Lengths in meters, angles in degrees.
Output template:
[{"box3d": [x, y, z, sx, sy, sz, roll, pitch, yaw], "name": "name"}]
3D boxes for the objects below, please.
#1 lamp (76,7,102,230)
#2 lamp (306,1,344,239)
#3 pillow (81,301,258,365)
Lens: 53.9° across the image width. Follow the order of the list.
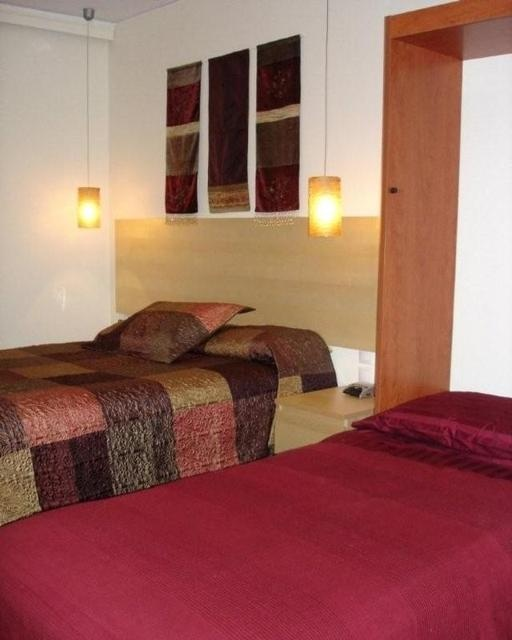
[{"box3d": [-1.489, -1.718, 4.415, 0.179, 1.818, 0.684, -1, -1, -19], "name": "lamp"}, {"box3d": [0.404, -1.200, 2.994, 0.184, 1.114, 0.303, -2, -1, 19], "name": "lamp"}, {"box3d": [-0.565, 0.045, 3.101, 0.543, 0.118, 0.613, 10, 32, 42], "name": "pillow"}]
